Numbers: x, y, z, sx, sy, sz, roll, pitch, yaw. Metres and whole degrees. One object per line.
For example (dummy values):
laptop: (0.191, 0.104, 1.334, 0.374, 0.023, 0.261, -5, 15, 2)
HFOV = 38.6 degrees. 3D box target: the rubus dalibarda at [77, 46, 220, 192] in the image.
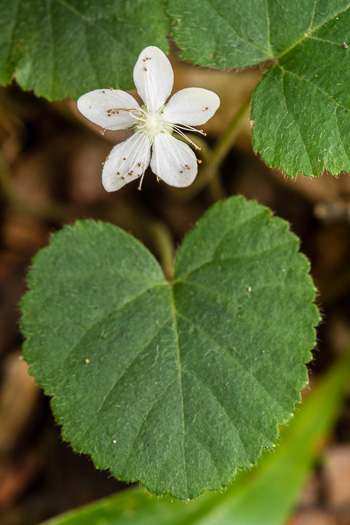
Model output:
rubus dalibarda: (-0.064, -0.404, 1.455, 0.383, 0.233, 0.335, -16, 78, -3)
